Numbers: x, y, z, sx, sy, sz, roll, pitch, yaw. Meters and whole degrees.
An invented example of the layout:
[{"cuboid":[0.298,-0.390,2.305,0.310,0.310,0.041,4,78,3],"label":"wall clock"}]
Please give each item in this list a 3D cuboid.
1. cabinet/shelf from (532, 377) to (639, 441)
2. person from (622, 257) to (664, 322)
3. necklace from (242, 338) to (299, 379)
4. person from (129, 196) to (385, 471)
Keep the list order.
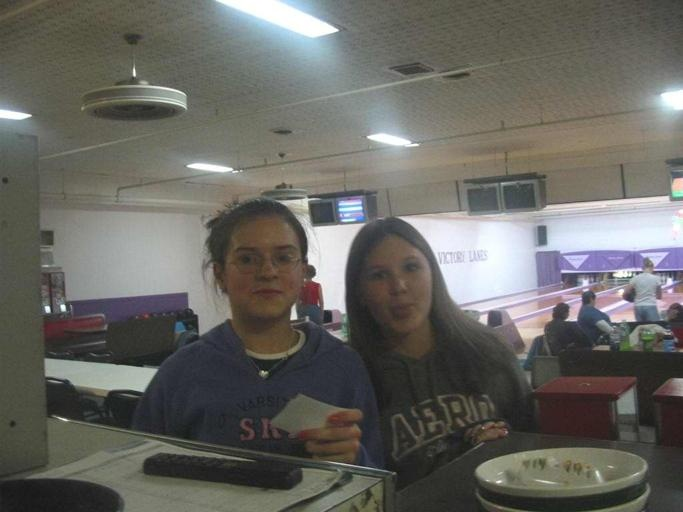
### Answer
[{"cuboid":[0.831,0.483,1.806,0.261,0.147,0.258,-5,-6,30],"label":"cabinet/shelf"},{"cuboid":[4.987,0.796,8.638,0.498,1.455,0.494,-18,16,-39],"label":"person"},{"cuboid":[-0.199,0.309,1.575,0.123,0.084,0.139,-7,-1,41],"label":"necklace"},{"cuboid":[-0.249,0.230,1.550,0.657,0.784,0.343,-4,0,20],"label":"person"}]
